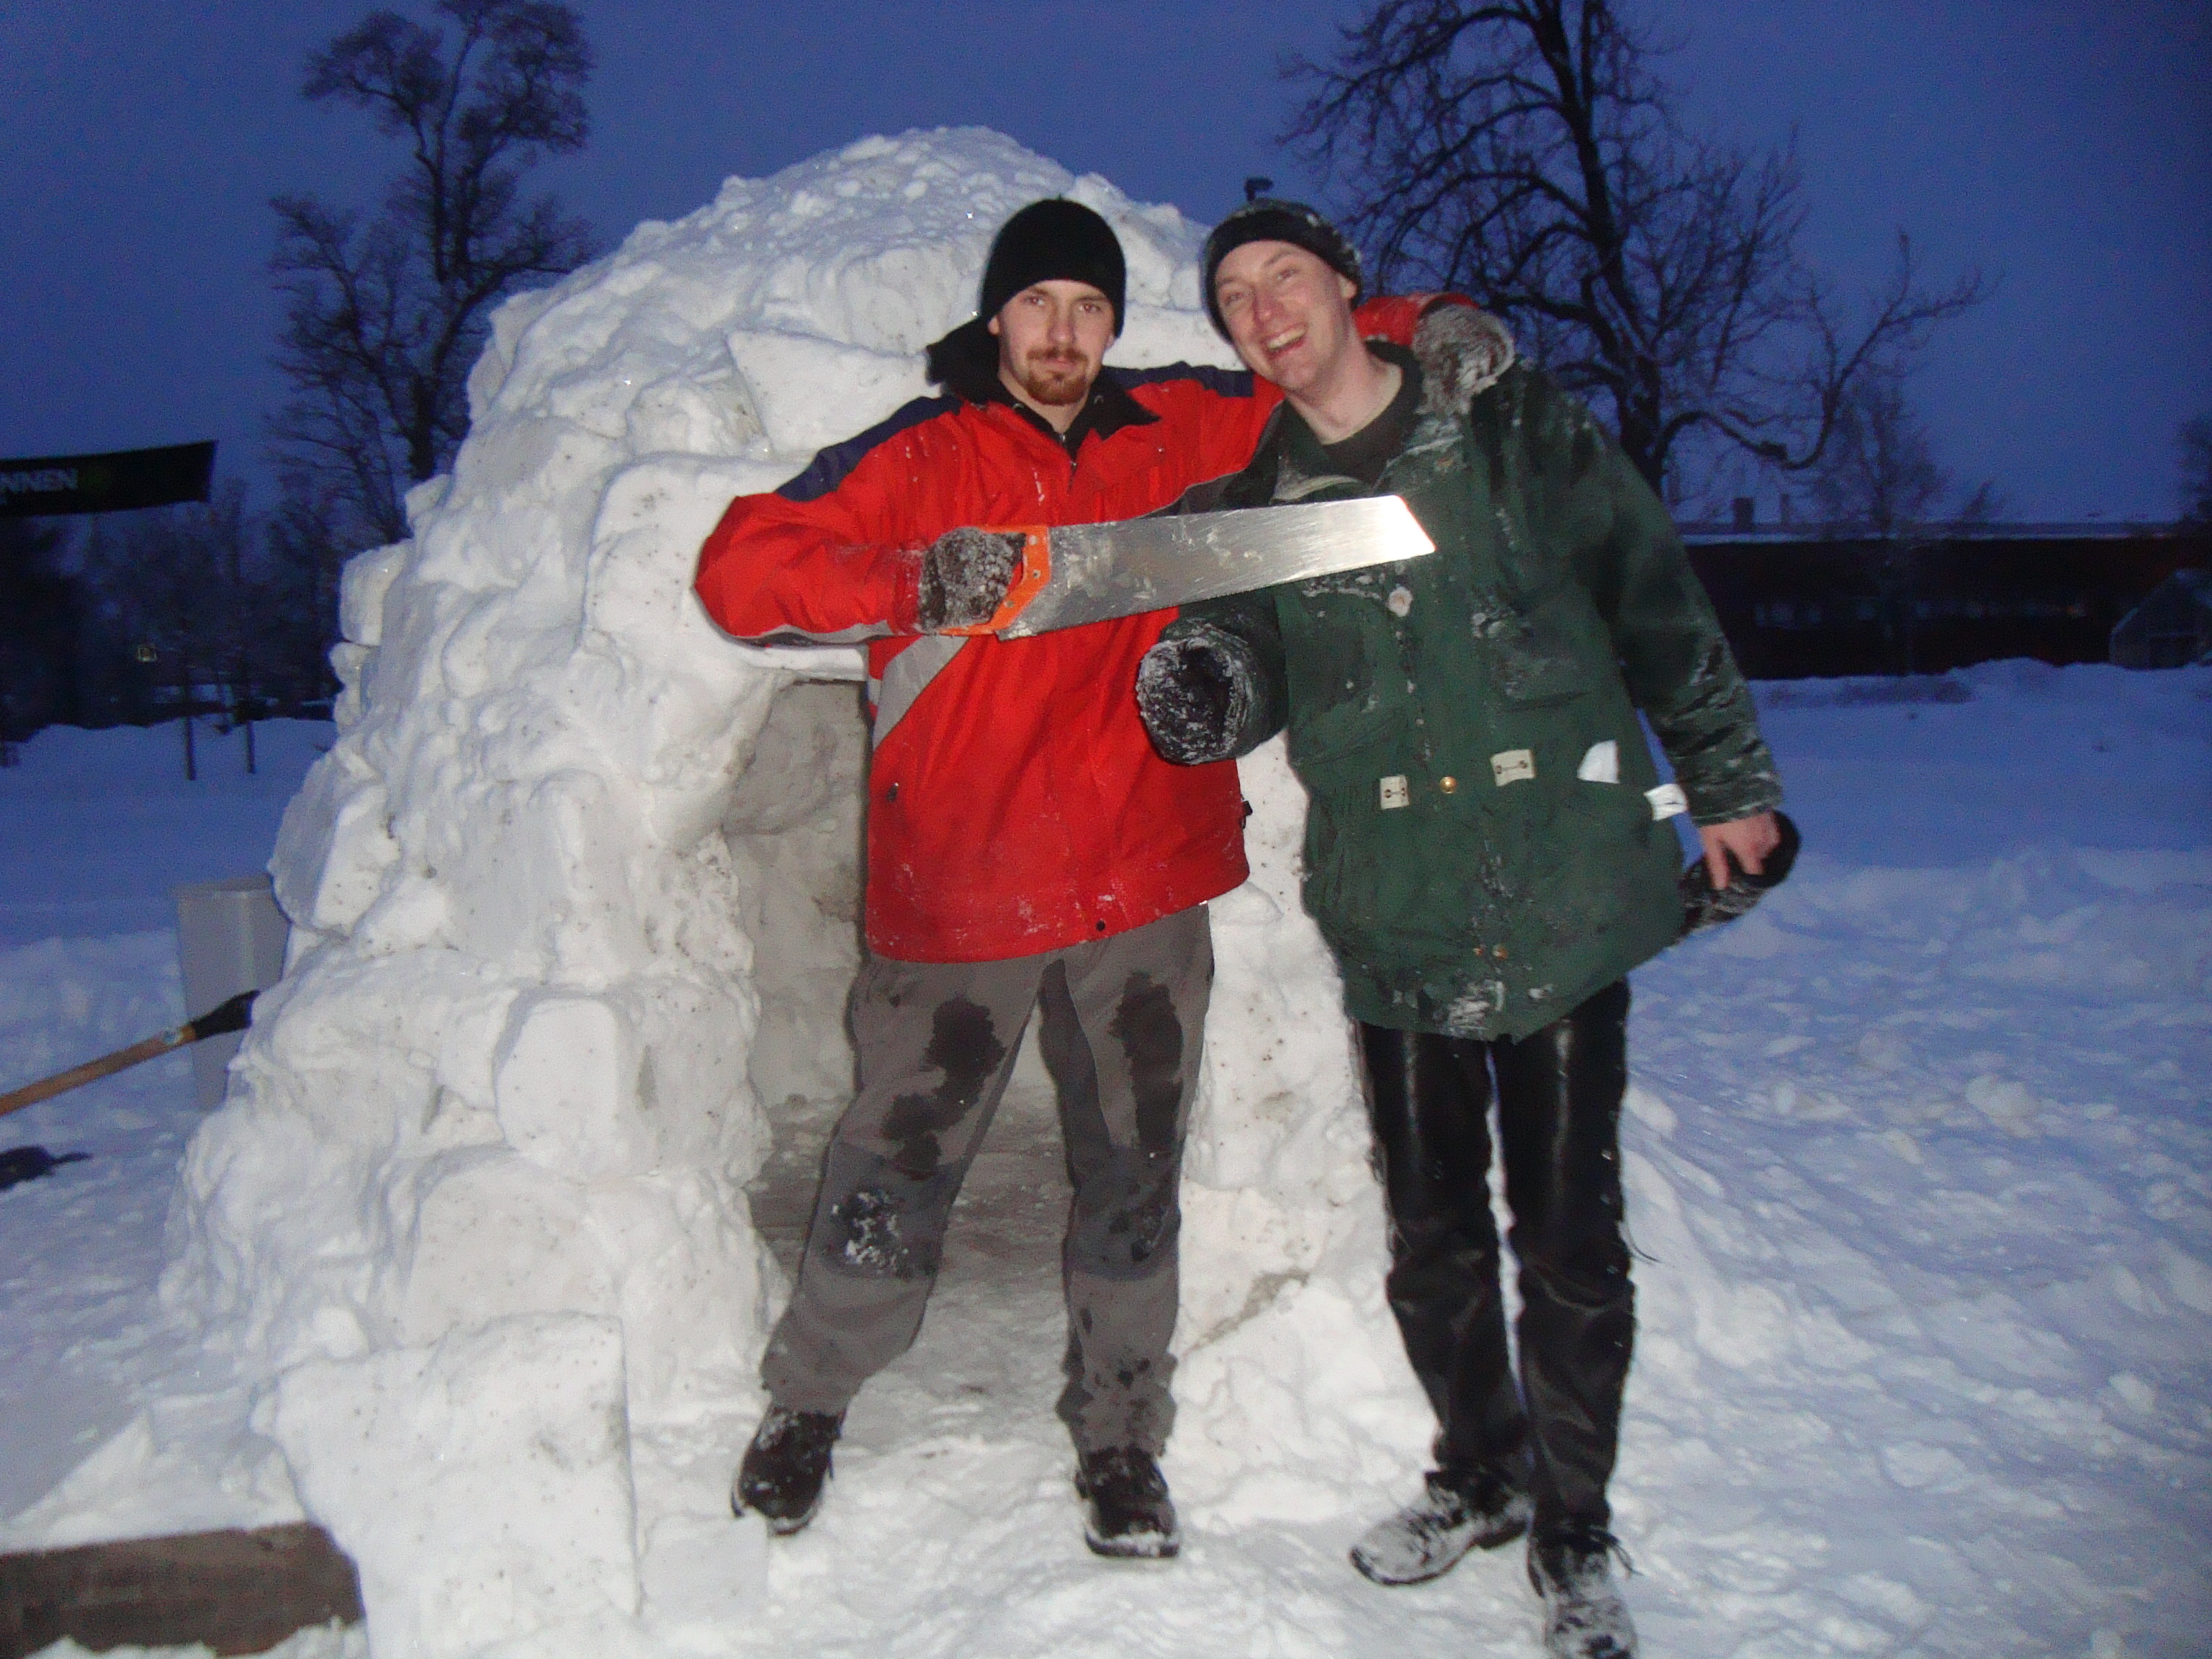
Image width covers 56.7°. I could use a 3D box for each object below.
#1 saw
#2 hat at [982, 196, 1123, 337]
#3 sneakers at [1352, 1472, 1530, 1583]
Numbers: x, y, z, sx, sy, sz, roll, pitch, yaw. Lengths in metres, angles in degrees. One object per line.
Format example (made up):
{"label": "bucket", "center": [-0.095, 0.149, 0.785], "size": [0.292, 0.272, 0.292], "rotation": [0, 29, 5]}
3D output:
{"label": "saw", "center": [0.215, -0.690, 5.465], "size": [1.229, 0.301, 0.171], "rotation": [-8, -19, 7]}
{"label": "hat", "center": [-0.130, -1.624, 5.742], "size": [0.325, 0.269, 0.313], "rotation": [1, -5, 6]}
{"label": "sneakers", "center": [0.962, 1.925, 5.723], "size": [0.581, 0.249, 0.217], "rotation": [-10, 1, -21]}
